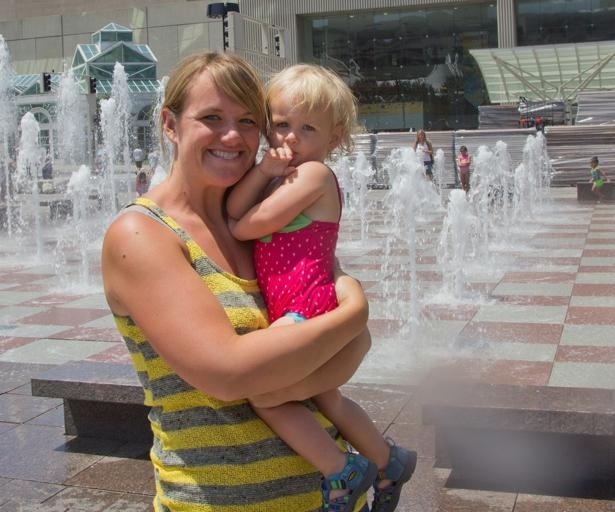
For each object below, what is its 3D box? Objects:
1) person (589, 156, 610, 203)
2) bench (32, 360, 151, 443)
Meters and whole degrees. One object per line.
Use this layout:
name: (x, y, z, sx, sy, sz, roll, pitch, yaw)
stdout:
person: (8.950, -2.396, 18.192, 0.437, 1.386, 3.027, 1, 6, 27)
bench: (-1.275, 0.955, 3.950, 0.911, 0.384, 0.566, 3, 5, 12)
